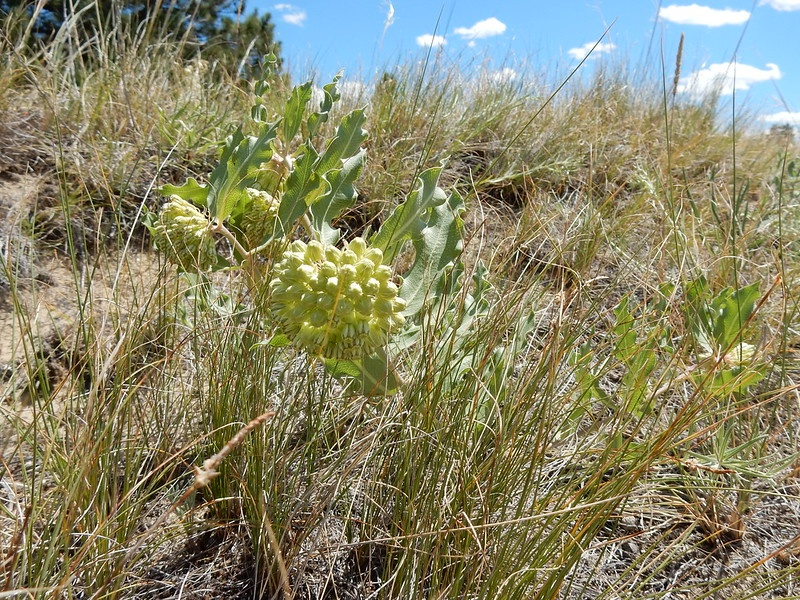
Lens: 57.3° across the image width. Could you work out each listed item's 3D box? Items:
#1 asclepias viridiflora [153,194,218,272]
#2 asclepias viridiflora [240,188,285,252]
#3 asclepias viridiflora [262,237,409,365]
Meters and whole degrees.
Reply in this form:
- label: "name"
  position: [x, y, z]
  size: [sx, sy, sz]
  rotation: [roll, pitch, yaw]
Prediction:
- label: "asclepias viridiflora"
  position: [-1.028, -0.302, 3.615]
  size: [0.292, 0.263, 0.318]
  rotation: [40, 11, 4]
- label: "asclepias viridiflora"
  position: [-0.704, -0.414, 3.765]
  size: [0.210, 0.183, 0.284]
  rotation: [32, 8, -14]
- label: "asclepias viridiflora"
  position: [-0.269, -0.001, 3.093]
  size: [0.471, 0.386, 0.509]
  rotation: [-15, 45, -35]
